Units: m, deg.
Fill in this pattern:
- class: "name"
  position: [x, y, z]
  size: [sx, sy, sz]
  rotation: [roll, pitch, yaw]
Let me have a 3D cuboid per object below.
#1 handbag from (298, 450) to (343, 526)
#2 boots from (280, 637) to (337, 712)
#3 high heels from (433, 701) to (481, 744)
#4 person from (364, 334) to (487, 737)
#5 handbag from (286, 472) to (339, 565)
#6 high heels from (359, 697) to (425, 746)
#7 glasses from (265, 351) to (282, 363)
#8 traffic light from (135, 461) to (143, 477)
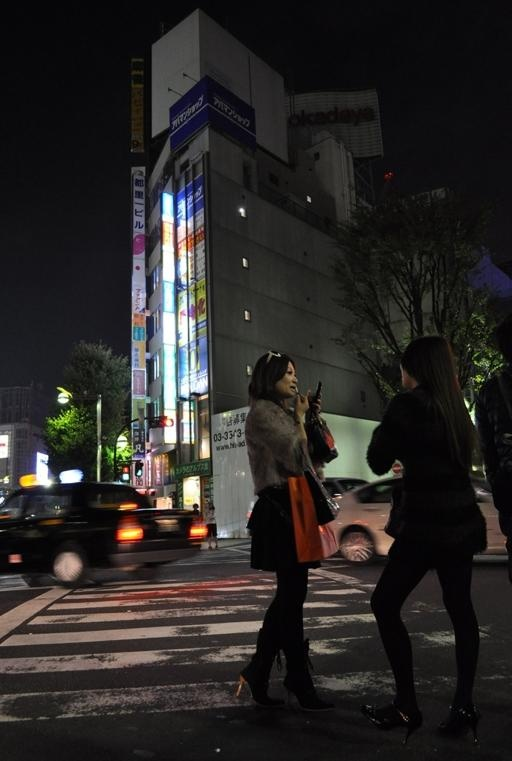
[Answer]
- class: "handbag"
  position: [0.368, 0.528, 3.177]
  size: [0.182, 0.327, 0.133]
  rotation: [12, -8, -20]
- class: "boots"
  position: [0.261, 1.376, 3.110]
  size: [0.210, 0.346, 0.298]
  rotation: [-5, -6, 21]
- class: "high heels"
  position: [0.814, 1.375, 2.645]
  size: [0.078, 0.134, 0.236]
  rotation: [7, -18, -24]
- class: "person"
  position: [0.695, 0.622, 2.848]
  size: [0.575, 1.677, 0.444]
  rotation: [-4, -6, 9]
- class: "handbag"
  position: [0.280, 0.646, 3.098]
  size: [0.267, 0.418, 0.179]
  rotation: [-1, -6, -21]
- class: "high heels"
  position: [0.544, 1.361, 2.684]
  size: [0.108, 0.114, 0.289]
  rotation: [0, -6, -31]
- class: "glasses"
  position: [0.085, -0.129, 3.420]
  size: [0.062, 0.060, 0.064]
  rotation: [-22, -13, 33]
- class: "traffic light"
  position: [-4.788, 3.571, 26.849]
  size: [0.300, 0.600, 0.626]
  rotation: [-2, -6, -18]
